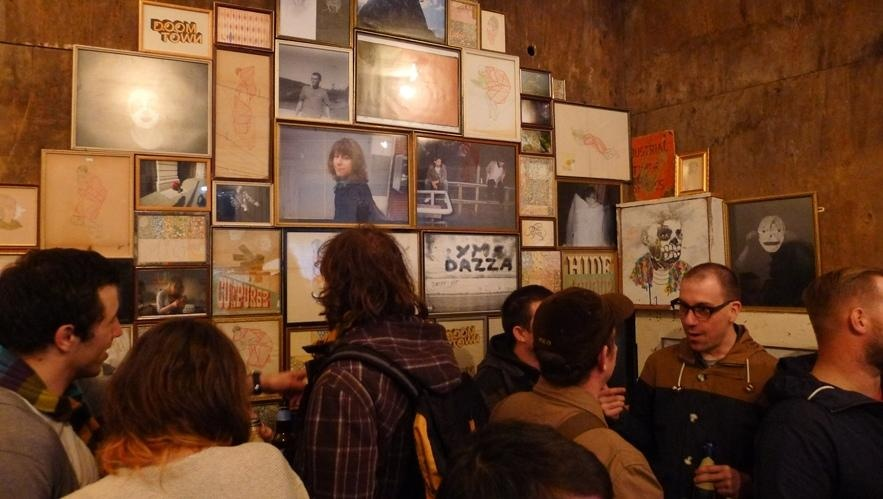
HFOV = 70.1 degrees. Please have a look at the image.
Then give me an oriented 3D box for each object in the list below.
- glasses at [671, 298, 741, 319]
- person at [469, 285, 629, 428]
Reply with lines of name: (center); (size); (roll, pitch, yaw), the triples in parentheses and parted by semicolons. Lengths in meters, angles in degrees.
glasses: (1.541, 0.337, 3.625); (0.206, 0.055, 0.191); (-5, 1, -38)
person: (0.559, 0.597, 3.469); (0.984, 0.856, 0.466); (-6, 0, 17)
